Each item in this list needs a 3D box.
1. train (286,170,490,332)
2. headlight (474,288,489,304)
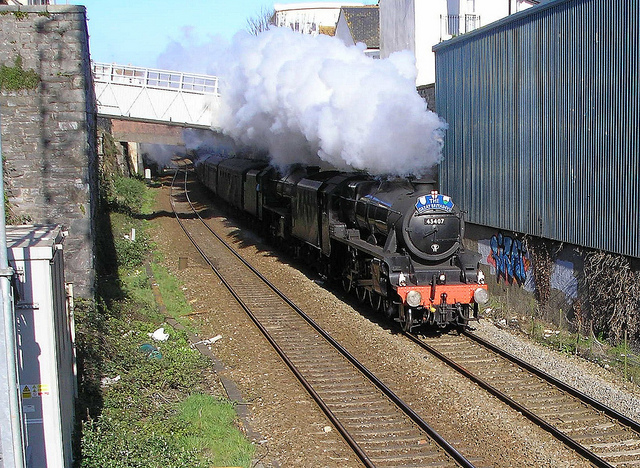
[{"bbox_3d":[1.155,-0.328,17.102,2.776,3.957,9.927,-2,12,-22],"label":"train"},{"bbox_3d":[3.835,1.492,12.987,0.327,0.324,0.184,-48,9,-11],"label":"headlight"}]
